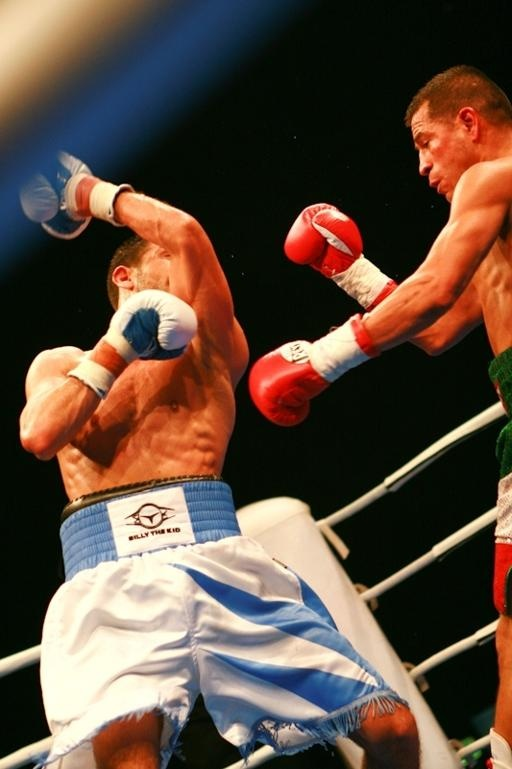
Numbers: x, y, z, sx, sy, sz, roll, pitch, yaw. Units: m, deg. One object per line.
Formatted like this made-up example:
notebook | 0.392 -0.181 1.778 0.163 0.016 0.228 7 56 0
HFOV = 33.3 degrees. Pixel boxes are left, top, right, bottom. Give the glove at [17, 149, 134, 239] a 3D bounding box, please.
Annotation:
glove | -0.524 -0.511 2.353 0.232 0.186 0.305 -46 17 -16

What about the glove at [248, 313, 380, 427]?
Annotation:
glove | 0.147 -0.020 2.259 0.379 0.144 0.218 -40 29 19
